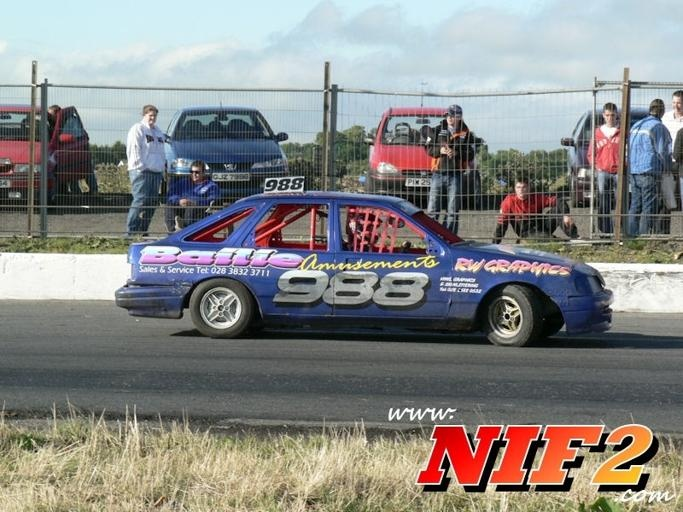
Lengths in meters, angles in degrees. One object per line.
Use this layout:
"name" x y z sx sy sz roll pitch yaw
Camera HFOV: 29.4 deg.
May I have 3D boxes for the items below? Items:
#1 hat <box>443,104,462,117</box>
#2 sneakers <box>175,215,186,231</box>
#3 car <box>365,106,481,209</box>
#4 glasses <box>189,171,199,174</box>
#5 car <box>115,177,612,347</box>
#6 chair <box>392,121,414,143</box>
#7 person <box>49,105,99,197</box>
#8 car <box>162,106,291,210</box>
"hat" 1.530 -1.988 17.785 0.171 0.162 0.369 -4 9 -13
"sneakers" -2.304 -0.471 18.516 0.181 0.276 0.081 -1 2 -3
"car" 0.967 -1.398 18.824 1.156 1.091 2.158 2 0 1
"glasses" -2.080 -1.185 18.481 0.045 0.049 0.142 -8 11 -39
"car" 0.352 0.178 15.138 5.192 1.685 2.253 0 3 8
"chair" 0.862 -1.758 18.494 0.287 0.292 0.213 2 5 0
"person" -3.838 -1.467 18.551 0.890 1.353 0.262 3 9 32
"car" -1.767 -1.621 18.843 1.609 1.302 2.708 -1 -1 -9
